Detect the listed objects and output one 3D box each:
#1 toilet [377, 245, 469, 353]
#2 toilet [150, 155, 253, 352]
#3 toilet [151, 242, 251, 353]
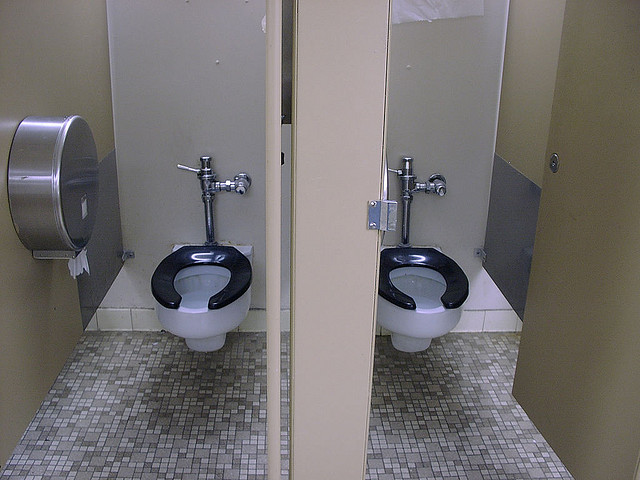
[{"bbox_3d":[0.446,0.310,2.408,0.377,0.387,0.535,1,25,3],"label":"toilet"},{"bbox_3d":[-0.533,0.075,2.392,0.392,0.743,0.792,2,19,-3],"label":"toilet"},{"bbox_3d":[-0.518,0.292,2.424,0.352,0.384,0.543,0,34,1],"label":"toilet"}]
